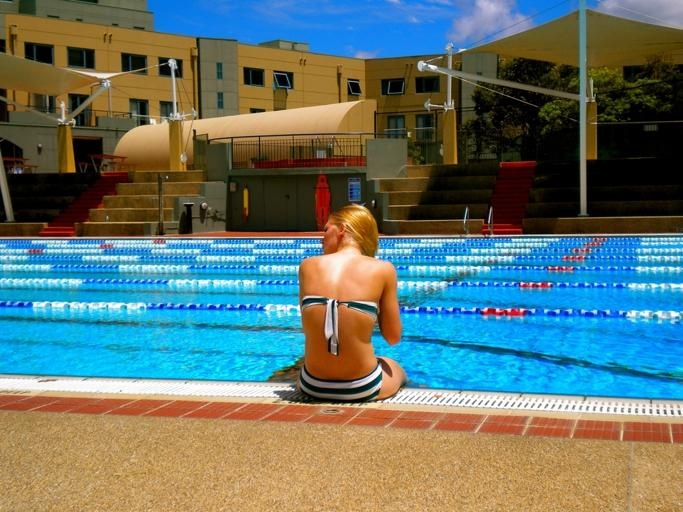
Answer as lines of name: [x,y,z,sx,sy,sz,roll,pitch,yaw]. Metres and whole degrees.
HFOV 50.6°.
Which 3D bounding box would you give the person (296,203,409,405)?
person: [0.066,0.280,4.246,0.622,1.156,0.466,-1,4,-9]
